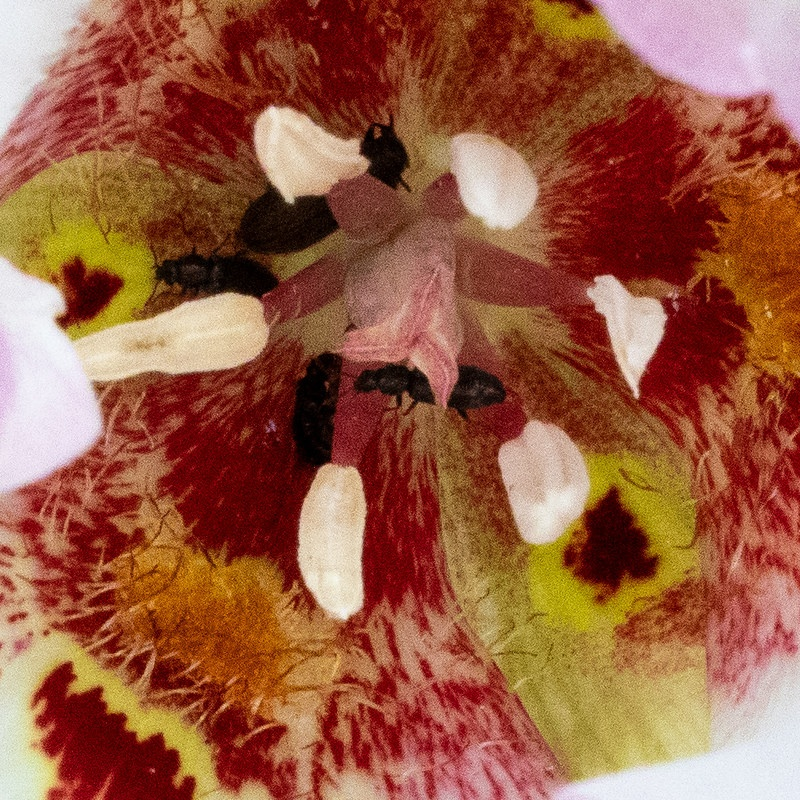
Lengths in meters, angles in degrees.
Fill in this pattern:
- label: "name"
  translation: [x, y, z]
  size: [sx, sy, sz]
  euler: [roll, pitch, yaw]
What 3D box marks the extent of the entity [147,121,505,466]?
- label: "entity"
  translation: [-0.075, -0.132, 1.590]
  size: [0.423, 0.436, 0.173]
  euler: [4, 7, 4]
